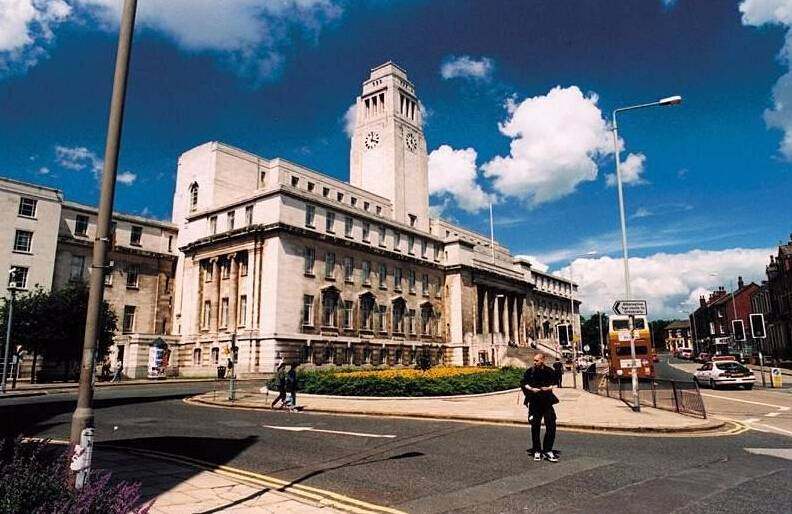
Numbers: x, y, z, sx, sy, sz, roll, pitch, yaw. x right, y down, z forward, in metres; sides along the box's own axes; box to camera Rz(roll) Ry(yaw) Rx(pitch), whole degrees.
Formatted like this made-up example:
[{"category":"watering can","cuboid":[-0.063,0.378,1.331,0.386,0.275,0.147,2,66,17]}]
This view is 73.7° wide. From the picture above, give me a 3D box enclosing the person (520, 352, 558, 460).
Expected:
[{"category":"person","cuboid":[4.175,4.348,15.382,1.001,2.972,0.582,-6,-15,21]}]
